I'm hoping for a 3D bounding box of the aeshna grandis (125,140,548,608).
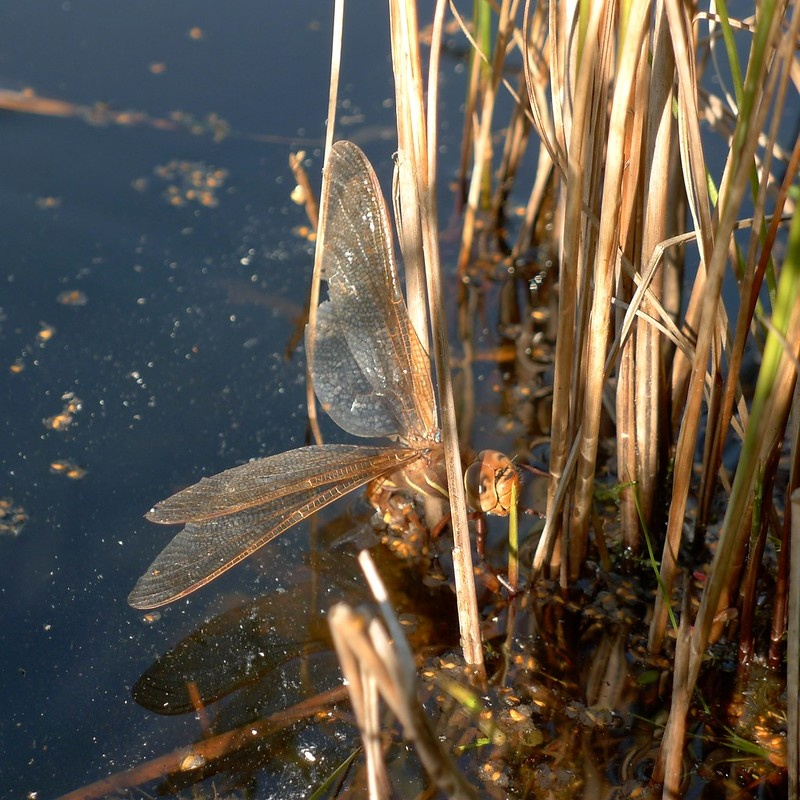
[{"bbox_3d":[-0.054,0.130,2.720,0.884,0.618,1.368,17,45,7],"label":"aeshna grandis"}]
